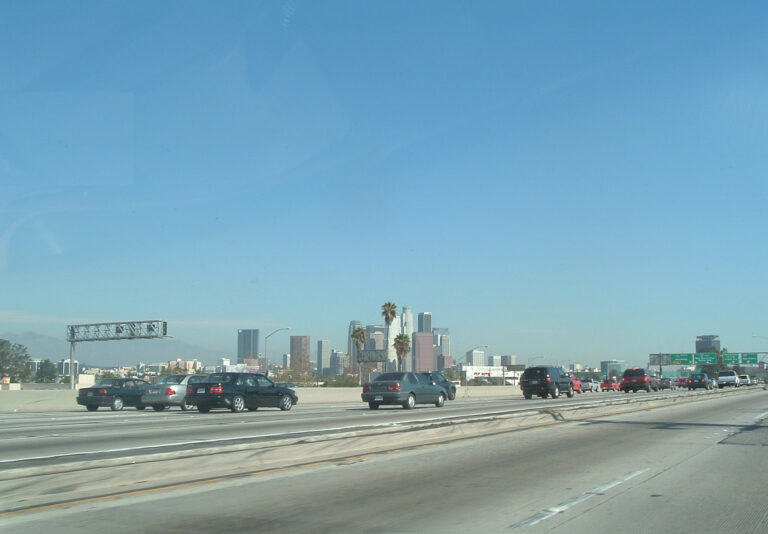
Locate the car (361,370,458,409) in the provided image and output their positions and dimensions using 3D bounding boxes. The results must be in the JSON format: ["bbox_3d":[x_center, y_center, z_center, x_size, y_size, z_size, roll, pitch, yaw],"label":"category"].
[{"bbox_3d":[1.190,5.626,39.746,1.604,1.301,3.957,-3,-4,39],"label":"car"}]
